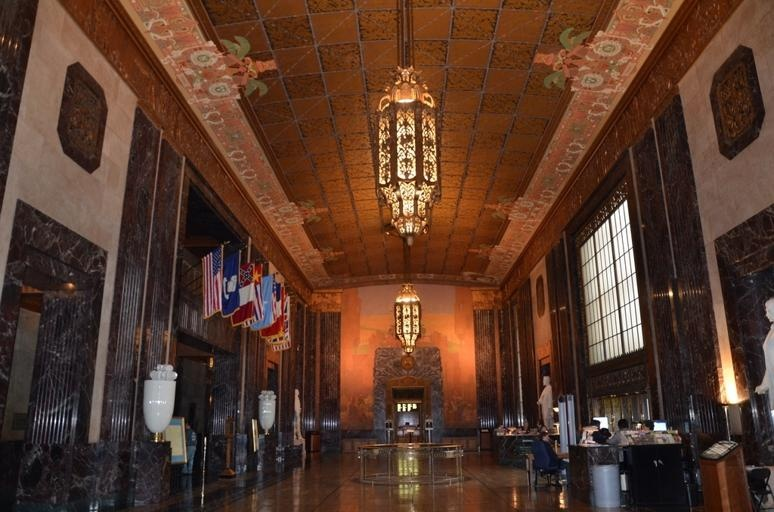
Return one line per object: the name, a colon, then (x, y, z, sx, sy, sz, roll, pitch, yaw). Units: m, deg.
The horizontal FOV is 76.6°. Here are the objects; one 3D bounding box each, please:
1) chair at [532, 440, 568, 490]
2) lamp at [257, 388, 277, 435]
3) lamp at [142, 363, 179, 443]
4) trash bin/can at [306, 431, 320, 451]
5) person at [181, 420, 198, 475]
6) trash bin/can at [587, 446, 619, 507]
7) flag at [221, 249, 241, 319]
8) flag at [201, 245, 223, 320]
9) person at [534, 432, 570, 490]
chair: (3.278, 4.166, 9.883, 0.649, 0.833, 1.684, -8, -24, 15)
lamp: (-3.530, 4.575, 14.394, 0.444, 1.142, 0.702, 1, -22, -5)
lamp: (-3.914, 2.421, 8.409, 0.511, 1.194, 0.531, 2, -22, -6)
trash bin/can: (-2.993, 7.544, 19.981, 0.565, 0.797, 0.259, 2, -22, -8)
person: (-5.089, 5.014, 12.706, 0.303, 1.139, 1.190, 7, -24, -20)
trash bin/can: (3.434, 3.469, 7.733, 0.529, 0.897, 0.299, -9, -23, 18)
flag: (-3.666, 0.624, 11.562, 0.435, 1.532, 0.568, 4, -23, -13)
flag: (-3.919, 0.583, 11.026, 0.379, 1.548, 0.400, -2, -22, 2)
person: (3.267, 4.013, 9.488, 0.651, 0.846, 0.667, 0, -20, 10)
